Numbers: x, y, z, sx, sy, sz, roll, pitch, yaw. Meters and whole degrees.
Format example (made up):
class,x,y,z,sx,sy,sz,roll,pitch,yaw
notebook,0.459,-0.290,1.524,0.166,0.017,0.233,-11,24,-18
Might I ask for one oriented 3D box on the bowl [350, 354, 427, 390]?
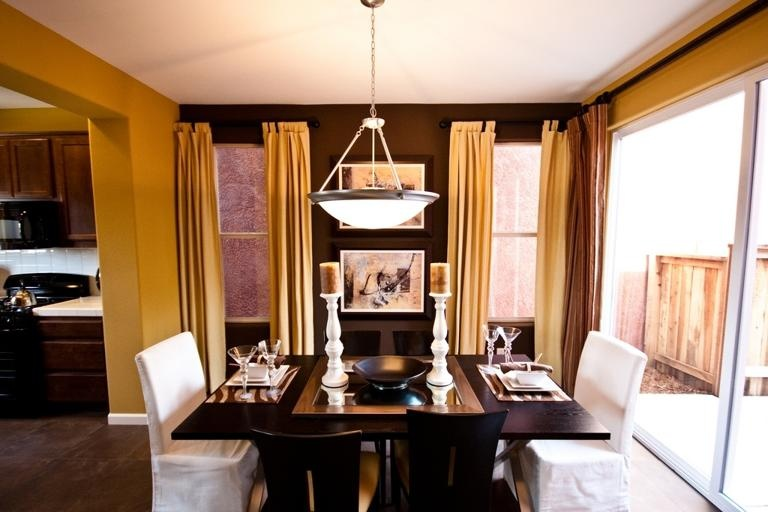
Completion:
class,x,y,z,sx,sy,sz,roll,pitch,yaw
bowl,0.040,0.906,4.240,0.538,0.131,0.547,2,7,0

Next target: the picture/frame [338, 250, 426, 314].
class,x,y,z,sx,sy,sz,roll,pitch,yaw
picture/frame,-0.029,0.239,5.745,0.745,0.493,0.026,0,4,3

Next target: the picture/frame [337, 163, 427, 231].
class,x,y,z,sx,sy,sz,roll,pitch,yaw
picture/frame,-0.021,-0.521,4.665,0.902,0.570,0.030,0,0,1

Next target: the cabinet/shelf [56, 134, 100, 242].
class,x,y,z,sx,sy,sz,roll,pitch,yaw
cabinet/shelf,-3.199,-0.697,5.824,0.437,1.077,0.554,-7,10,-30

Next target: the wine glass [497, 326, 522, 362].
class,x,y,z,sx,sy,sz,roll,pitch,yaw
wine glass,0.999,0.739,4.475,0.218,0.222,0.200,1,-34,-1

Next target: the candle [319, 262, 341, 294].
class,x,y,z,sx,sy,sz,roll,pitch,yaw
candle,-0.401,0.168,4.184,0.140,0.228,0.184,-2,5,-8

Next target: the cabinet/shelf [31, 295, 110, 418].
class,x,y,z,sx,sy,sz,roll,pitch,yaw
cabinet/shelf,-2.932,1.022,5.774,0.761,0.997,0.783,0,4,-1

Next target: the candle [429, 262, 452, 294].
class,x,y,z,sx,sy,sz,roll,pitch,yaw
candle,0.416,0.172,4.168,0.139,0.229,0.066,0,6,13
